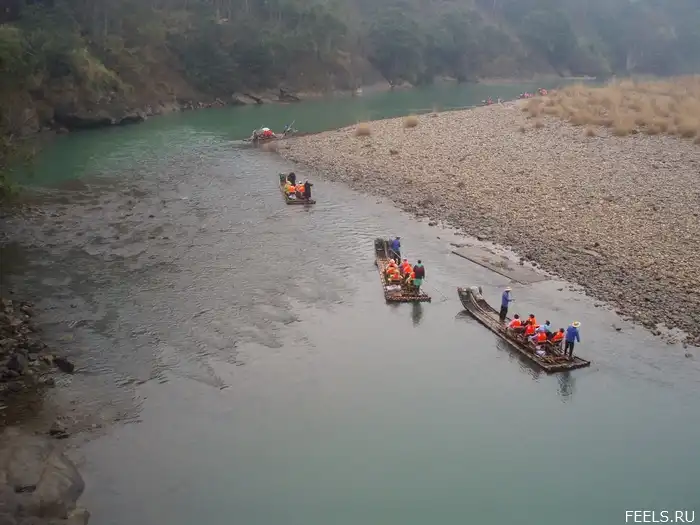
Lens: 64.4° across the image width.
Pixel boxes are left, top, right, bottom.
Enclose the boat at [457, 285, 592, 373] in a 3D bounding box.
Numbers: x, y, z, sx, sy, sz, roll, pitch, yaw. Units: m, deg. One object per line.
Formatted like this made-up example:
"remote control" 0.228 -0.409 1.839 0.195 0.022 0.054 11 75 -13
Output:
"boat" 9.876 4.267 32.357 2.688 1.664 9.375 -7 22 -31
